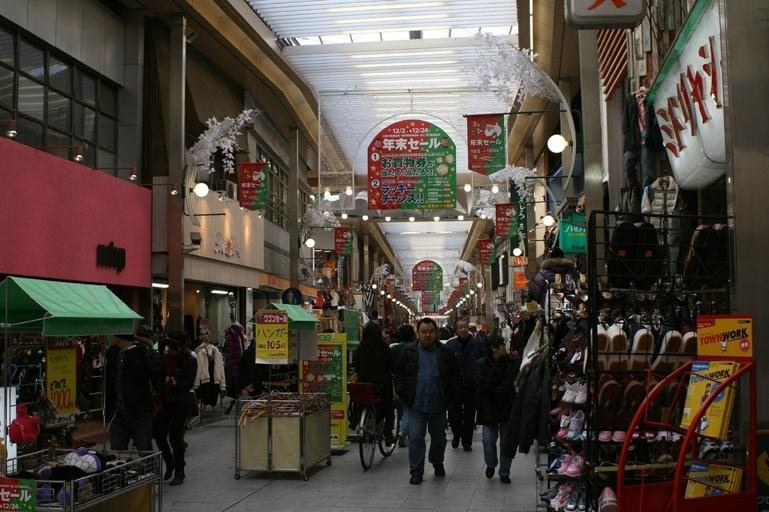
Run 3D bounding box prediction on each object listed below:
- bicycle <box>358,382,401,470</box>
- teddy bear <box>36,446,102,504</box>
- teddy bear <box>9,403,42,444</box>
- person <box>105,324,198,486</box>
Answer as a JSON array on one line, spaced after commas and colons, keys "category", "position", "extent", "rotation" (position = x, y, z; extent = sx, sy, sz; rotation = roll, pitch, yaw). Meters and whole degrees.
[{"category": "bicycle", "position": [-0.014, 2.703, 12.357], "extent": [0.589, 0.838, 1.351], "rotation": [-3, 0, 11]}, {"category": "teddy bear", "position": [-2.760, 1.924, 7.094], "extent": [0.532, 0.454, 0.605], "rotation": [1, -8, -21]}, {"category": "teddy bear", "position": [-3.294, 1.527, 7.386], "extent": [0.236, 0.343, 0.277], "rotation": [0, -7, -10]}, {"category": "person", "position": [-3.091, 2.029, 10.774], "extent": [0.707, 2.092, 1.226], "rotation": [-3, -7, 17]}]
